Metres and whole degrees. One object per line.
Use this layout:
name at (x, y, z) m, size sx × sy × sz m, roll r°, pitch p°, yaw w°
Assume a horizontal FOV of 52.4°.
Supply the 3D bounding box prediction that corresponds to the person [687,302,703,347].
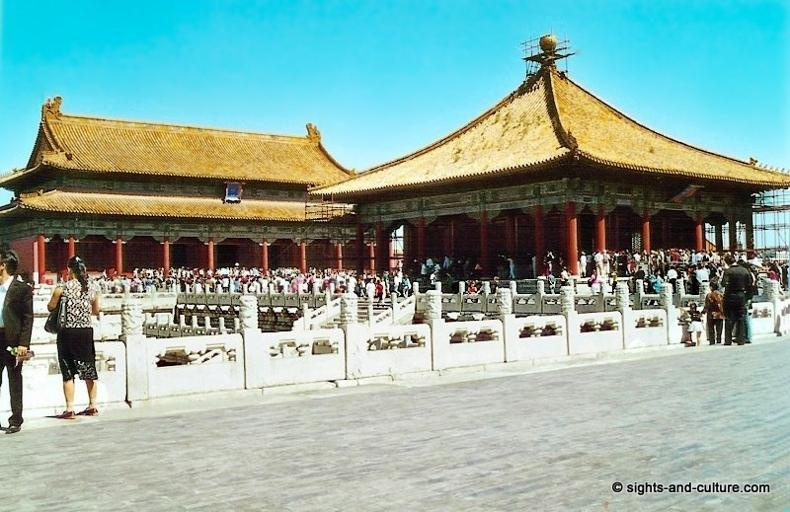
person at (7.412, 1.679, 19.881) m, size 0.383 × 0.975 × 0.733 m, roll 2°, pitch 6°, yaw 20°

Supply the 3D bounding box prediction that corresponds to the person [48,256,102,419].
person at (-4.977, 1.290, 12.467) m, size 0.739 × 2.494 × 0.520 m, roll -3°, pitch 6°, yaw -22°

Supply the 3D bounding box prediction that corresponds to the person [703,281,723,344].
person at (7.777, 1.517, 19.666) m, size 0.449 × 1.301 × 0.622 m, roll 2°, pitch 6°, yaw 20°

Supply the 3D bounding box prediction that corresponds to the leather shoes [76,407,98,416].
leather shoes at (-4.872, 2.467, 12.714) m, size 0.359 × 0.133 × 0.130 m, roll 1°, pitch -5°, yaw 18°

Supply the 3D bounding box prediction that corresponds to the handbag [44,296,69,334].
handbag at (-5.205, 0.923, 12.306) m, size 0.418 × 0.592 × 0.212 m, roll 5°, pitch 8°, yaw 42°

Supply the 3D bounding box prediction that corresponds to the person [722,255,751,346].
person at (8.060, 1.071, 19.089) m, size 0.583 × 2.181 × 1.022 m, roll 3°, pitch 7°, yaw 32°

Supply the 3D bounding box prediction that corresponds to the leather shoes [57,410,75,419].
leather shoes at (-5.078, 2.460, 12.443) m, size 0.250 × 0.097 × 0.119 m, roll 3°, pitch -4°, yaw 10°
